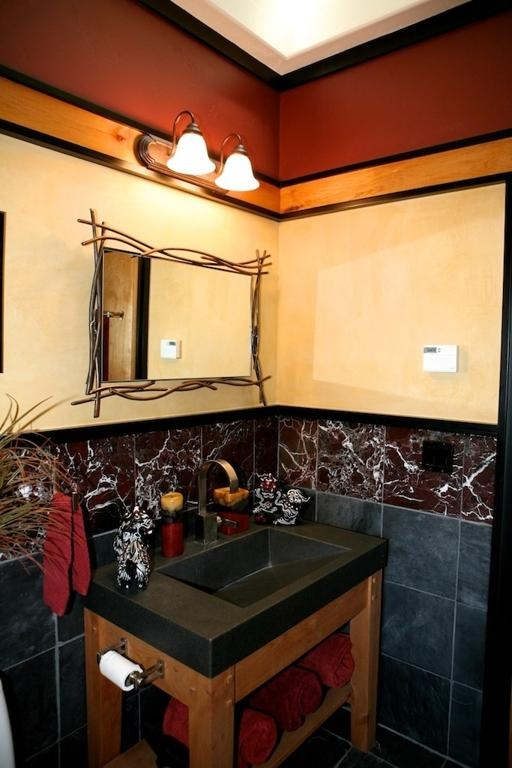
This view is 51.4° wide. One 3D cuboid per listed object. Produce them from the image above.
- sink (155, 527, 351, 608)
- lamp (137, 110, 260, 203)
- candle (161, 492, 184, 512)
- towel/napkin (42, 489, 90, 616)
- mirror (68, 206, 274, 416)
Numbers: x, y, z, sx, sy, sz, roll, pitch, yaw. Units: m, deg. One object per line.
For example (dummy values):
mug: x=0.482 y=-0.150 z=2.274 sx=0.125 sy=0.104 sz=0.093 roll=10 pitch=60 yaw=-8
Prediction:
sink: x=-0.033 y=0.582 z=1.733 sx=0.608 sy=0.155 sz=0.288 roll=-2 pitch=3 yaw=-24
lamp: x=-0.135 y=-0.743 z=1.663 sx=0.229 sy=0.259 sz=0.467 roll=1 pitch=3 yaw=31
candle: x=-0.253 y=0.343 z=1.576 sx=0.048 sy=0.032 sz=0.049 roll=-11 pitch=18 yaw=-32
towel/napkin: x=-0.488 y=0.414 z=1.308 sx=0.135 sy=0.306 sz=0.082 roll=1 pitch=2 yaw=21
mirror: x=-0.219 y=-0.193 z=1.709 sx=0.123 sy=0.563 sz=0.831 roll=1 pitch=3 yaw=33
